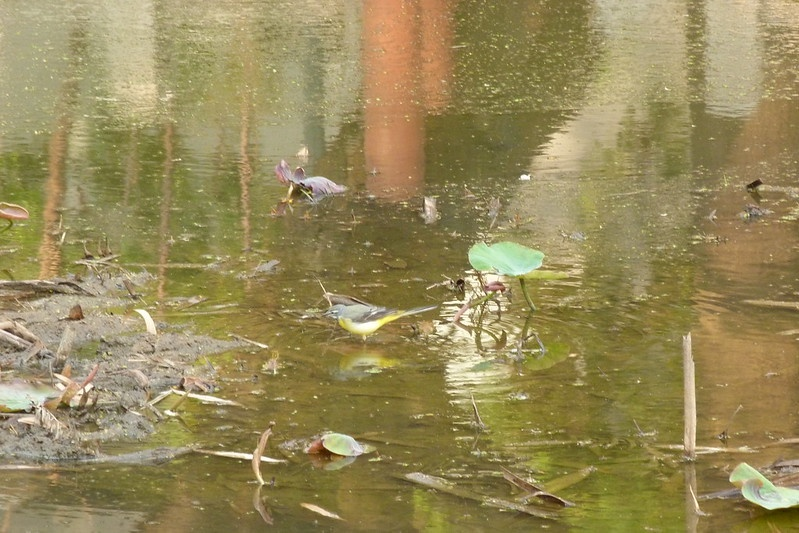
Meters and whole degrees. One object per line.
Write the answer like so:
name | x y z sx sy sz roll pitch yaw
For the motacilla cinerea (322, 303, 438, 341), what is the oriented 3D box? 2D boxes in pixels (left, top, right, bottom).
motacilla cinerea | -0.124 0.318 5.891 0.596 0.216 0.335 -5 8 -39
